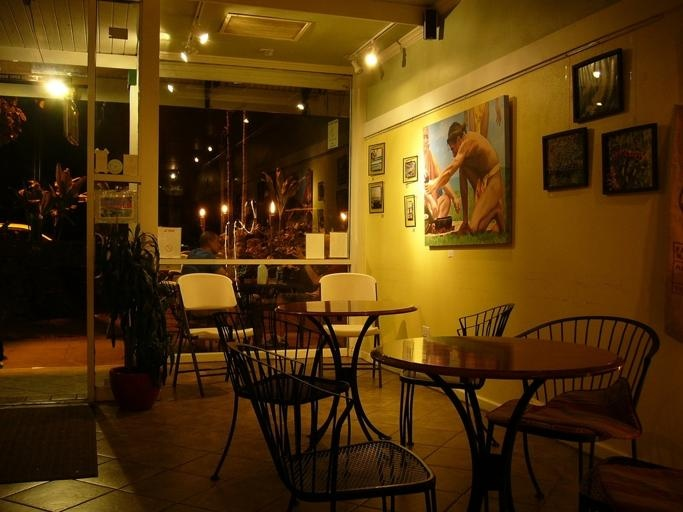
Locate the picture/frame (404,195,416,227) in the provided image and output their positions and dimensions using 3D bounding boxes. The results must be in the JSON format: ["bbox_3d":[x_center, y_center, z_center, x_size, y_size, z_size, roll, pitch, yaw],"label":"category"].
[{"bbox_3d":[0.830,-0.560,6.472,0.030,0.482,0.344,3,-5,-20],"label":"picture/frame"}]

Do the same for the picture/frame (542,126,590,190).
[{"bbox_3d":[1.809,-0.789,4.280,0.057,0.667,0.509,0,1,-27],"label":"picture/frame"}]

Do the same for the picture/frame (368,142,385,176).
[{"bbox_3d":[0.480,-1.327,7.236,0.031,0.511,0.443,2,-3,-26],"label":"picture/frame"}]

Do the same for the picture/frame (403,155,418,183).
[{"bbox_3d":[0.834,-1.063,6.439,0.023,0.397,0.338,0,0,-24],"label":"picture/frame"}]

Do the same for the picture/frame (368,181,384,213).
[{"bbox_3d":[0.479,-0.819,7.267,0.024,0.506,0.403,-2,4,-26],"label":"picture/frame"}]

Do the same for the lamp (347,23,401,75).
[{"bbox_3d":[0.433,-2.618,6.850,0.324,0.260,1.063,12,1,-20],"label":"lamp"}]

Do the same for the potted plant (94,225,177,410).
[{"bbox_3d":[-2.006,0.578,5.152,0.743,1.738,0.417,1,2,27],"label":"potted plant"}]

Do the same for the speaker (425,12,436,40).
[{"bbox_3d":[0.959,-2.515,5.791,0.158,0.266,0.055,-1,3,-16],"label":"speaker"}]

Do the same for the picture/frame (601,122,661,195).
[{"bbox_3d":[2.054,-0.692,3.767,0.044,0.650,0.487,2,-4,-26],"label":"picture/frame"}]
